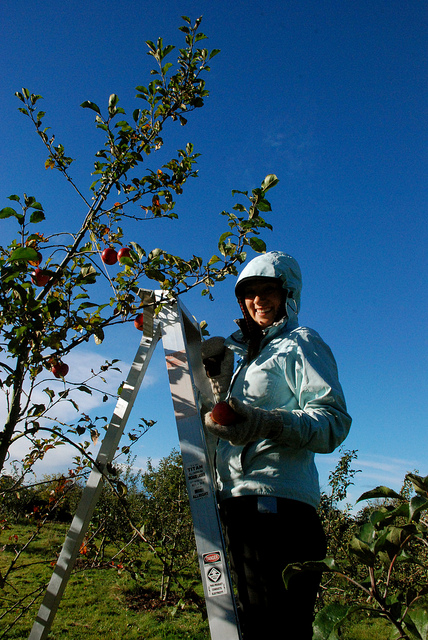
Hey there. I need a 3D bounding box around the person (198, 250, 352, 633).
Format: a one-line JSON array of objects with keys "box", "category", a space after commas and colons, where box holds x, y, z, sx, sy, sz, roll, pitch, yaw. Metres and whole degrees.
[{"box": [0.205, 0.316, 1.867, 0.485, 1.460, 0.965, 8, -25, 0], "category": "person"}]

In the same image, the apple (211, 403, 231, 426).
[{"box": [0.023, 0.288, 1.496, 0.059, 0.033, 0.060, 54, -13, -1], "category": "apple"}]

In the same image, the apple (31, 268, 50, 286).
[{"box": [-0.738, -0.186, 2.119, 0.052, 0.049, 0.105, 7, -24, 1], "category": "apple"}]

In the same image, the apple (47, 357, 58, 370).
[{"box": [-0.699, 0.183, 2.128, 0.036, 0.055, 0.040, 14, -26, -13], "category": "apple"}]
